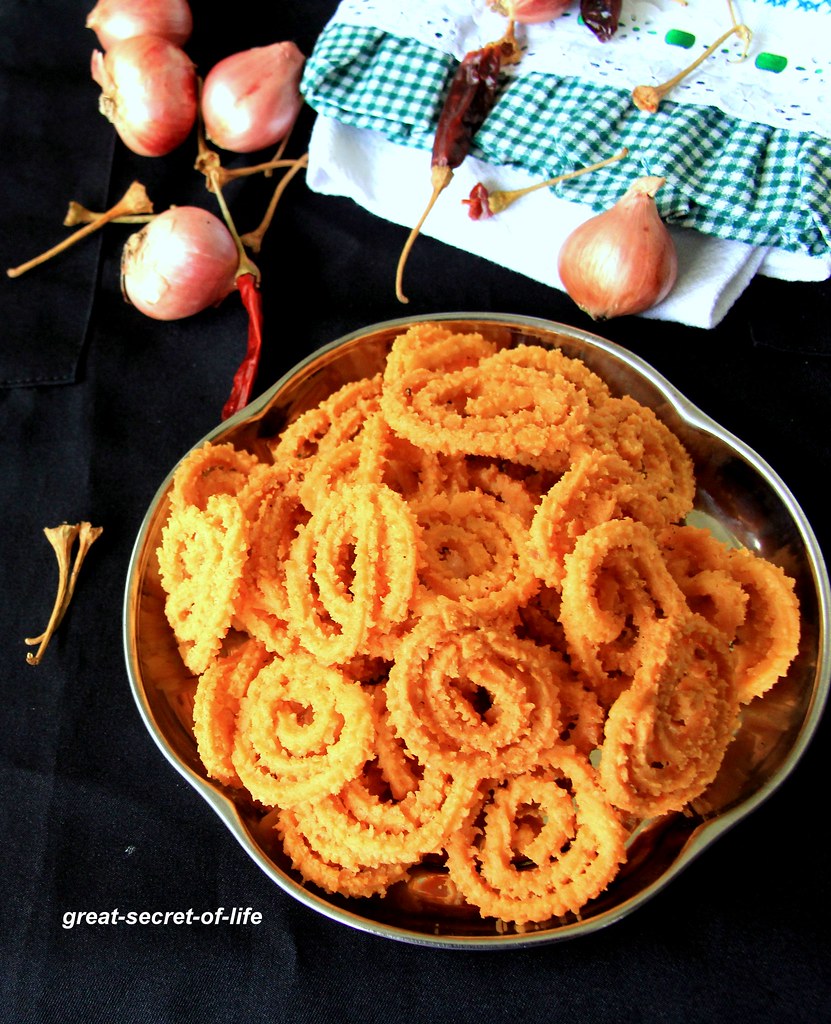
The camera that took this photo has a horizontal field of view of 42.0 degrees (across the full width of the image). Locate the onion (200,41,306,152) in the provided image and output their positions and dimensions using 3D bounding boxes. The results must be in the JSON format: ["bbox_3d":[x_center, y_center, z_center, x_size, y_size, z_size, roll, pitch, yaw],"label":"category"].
[{"bbox_3d":[-0.222,-0.568,1.474,0.126,0.119,0.154,37,101,-10],"label":"onion"}]

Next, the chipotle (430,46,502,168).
[{"bbox_3d":[0.065,-0.516,1.402,0.065,0.101,0.185,12,63,7],"label":"chipotle"}]

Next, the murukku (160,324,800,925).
[{"bbox_3d":[0.053,0.110,1.185,0.642,0.248,0.640,-34,66,-16],"label":"murukku"}]

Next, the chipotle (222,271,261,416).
[{"bbox_3d":[-0.217,-0.212,1.420,0.049,0.059,0.198,7,88,-12],"label":"chipotle"}]

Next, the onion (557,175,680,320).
[{"bbox_3d":[0.259,-0.333,1.354,0.115,0.143,0.114,30,44,17],"label":"onion"}]
